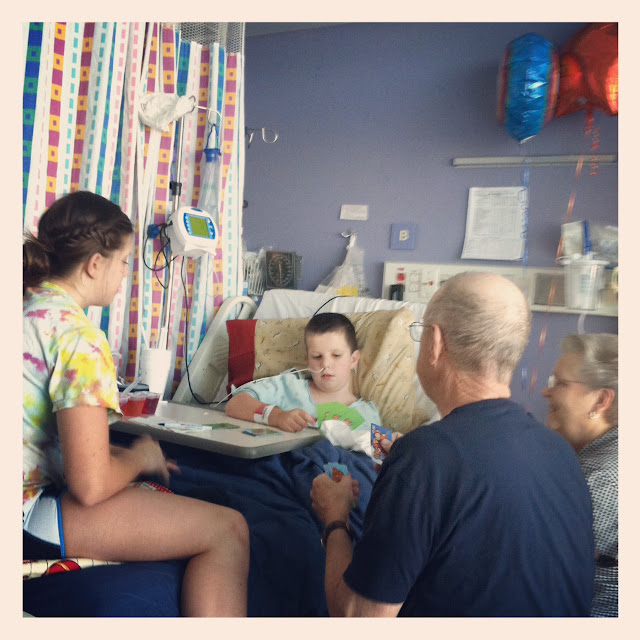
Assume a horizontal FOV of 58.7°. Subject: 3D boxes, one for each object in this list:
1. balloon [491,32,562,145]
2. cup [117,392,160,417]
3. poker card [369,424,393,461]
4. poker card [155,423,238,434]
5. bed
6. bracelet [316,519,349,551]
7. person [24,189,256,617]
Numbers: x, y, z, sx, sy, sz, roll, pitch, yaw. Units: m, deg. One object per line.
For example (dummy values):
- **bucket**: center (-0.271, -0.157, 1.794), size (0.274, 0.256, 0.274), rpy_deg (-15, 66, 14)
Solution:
- **balloon**: center (0.826, -0.943, 2.292), size (0.219, 0.343, 0.179), rpy_deg (-1, 19, 1)
- **cup**: center (-0.518, 0.240, 1.632), size (0.050, 0.033, 0.081), rpy_deg (5, 11, 40)
- **poker card**: center (0.147, 0.293, 1.371), size (0.018, 0.074, 0.077), rpy_deg (-20, -35, 28)
- **poker card**: center (-0.335, 0.288, 1.513), size (0.147, 0.012, 0.111), rpy_deg (3, 1, -10)
- **bed**: center (-0.128, 0.291, 1.382), size (0.508, 0.581, 0.903), rpy_deg (3, 4, 30)
- **bracelet**: center (0.024, 0.434, 1.165), size (0.056, 0.029, 0.076), rpy_deg (0, -3, 4)
- **person**: center (-0.388, 0.125, 1.210), size (0.535, 0.805, 0.436), rpy_deg (4, 5, -5)
